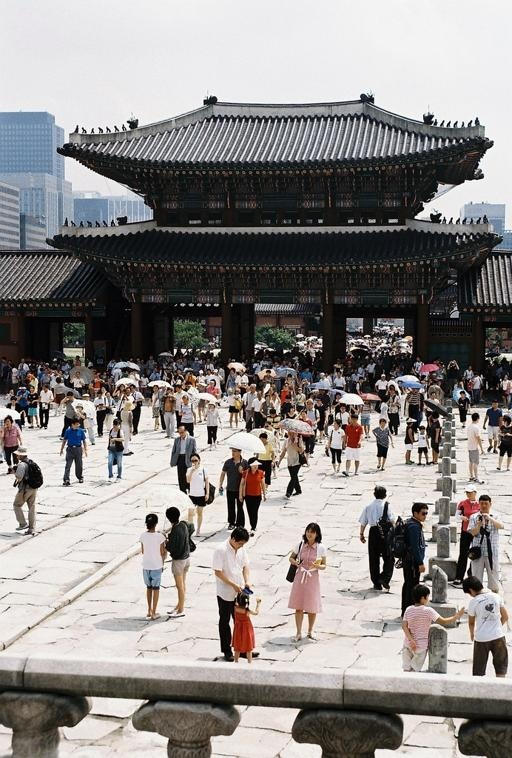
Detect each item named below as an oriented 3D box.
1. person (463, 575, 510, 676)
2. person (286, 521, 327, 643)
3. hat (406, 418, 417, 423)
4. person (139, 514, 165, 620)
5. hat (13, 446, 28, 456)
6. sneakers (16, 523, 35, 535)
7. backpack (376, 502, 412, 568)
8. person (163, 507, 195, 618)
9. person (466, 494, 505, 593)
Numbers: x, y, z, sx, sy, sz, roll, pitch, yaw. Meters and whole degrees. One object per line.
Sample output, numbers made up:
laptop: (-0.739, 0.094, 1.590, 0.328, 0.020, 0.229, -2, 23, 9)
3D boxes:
person: (2.102, 2.299, 11.213, 0.416, 0.940, 1.117, 1, 0, 12)
person: (0.534, 2.164, 13.075, 0.396, 1.243, 0.523, 1, 0, 3)
hat: (3.461, 0.910, 27.140, 0.185, 0.095, 0.217, 6, 2, -20)
person: (-1.183, 2.132, 14.066, 0.281, 1.172, 0.599, 1, 0, -6)
hat: (-3.541, 1.105, 18.499, 0.181, 0.088, 0.215, 3, -11, 25)
sneakers: (-3.457, 2.278, 18.356, 0.125, 0.207, 0.369, 8, 0, -42)
backpack: (1.649, 1.824, 13.796, 0.301, 0.727, 0.623, 0, -3, -1)
person: (-0.888, 2.082, 13.953, 0.258, 1.232, 0.512, 1, 0, 15)
person: (2.592, 1.917, 13.804, 0.300, 1.325, 0.321, 1, 12, 15)
